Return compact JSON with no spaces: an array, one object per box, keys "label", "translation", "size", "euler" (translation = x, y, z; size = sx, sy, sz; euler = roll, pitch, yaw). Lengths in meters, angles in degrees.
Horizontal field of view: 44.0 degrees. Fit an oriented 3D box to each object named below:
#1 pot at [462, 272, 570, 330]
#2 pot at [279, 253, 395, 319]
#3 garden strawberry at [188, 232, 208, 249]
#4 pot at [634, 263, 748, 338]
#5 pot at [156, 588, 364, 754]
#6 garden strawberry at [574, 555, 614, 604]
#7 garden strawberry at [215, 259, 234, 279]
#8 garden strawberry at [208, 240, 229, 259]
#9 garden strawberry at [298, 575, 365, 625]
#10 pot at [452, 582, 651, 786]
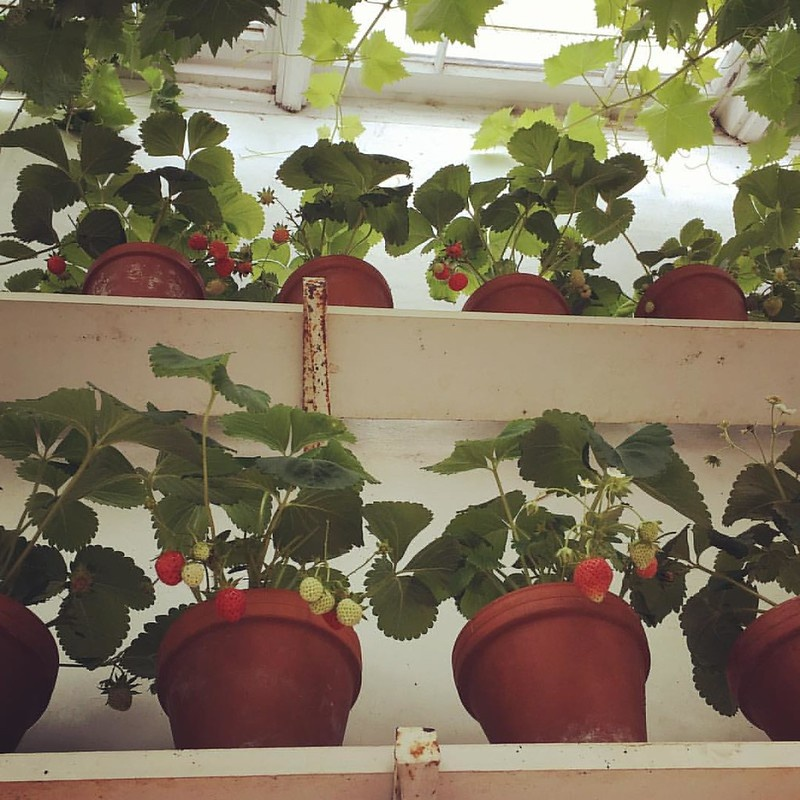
[{"label":"pot","translation":[0.229,-0.202,1.907],"size":[0.208,0.081,0.181],"euler":[6,10,6]},{"label":"pot","translation":[-0.110,-0.218,1.835],"size":[0.220,0.094,0.201],"euler":[5,10,-1]},{"label":"garden strawberry","translation":[-0.425,-0.334,2.098],"size":[0.040,0.023,0.039],"euler":[-33,18,-6]},{"label":"pot","translation":[0.594,-0.210,1.966],"size":[0.205,0.115,0.225],"euler":[5,10,-1]},{"label":"pot","translation":[-0.199,0.368,1.354],"size":[0.292,0.231,0.141],"euler":[-3,50,-5]},{"label":"garden strawberry","translation":[0.274,0.253,1.403],"size":[0.051,0.066,0.060],"euler":[9,11,11]},{"label":"garden strawberry","translation":[-0.365,-0.276,2.084],"size":[0.040,0.022,0.040],"euler":[-2,33,4]},{"label":"garden strawberry","translation":[-0.376,-0.316,2.069],"size":[0.043,0.031,0.044],"euler":[0,5,9]},{"label":"garden strawberry","translation":[-0.096,0.279,1.372],"size":[0.105,0.039,0.052],"euler":[26,10,-1]},{"label":"pot","translation":[0.221,0.377,1.402],"size":[0.275,0.222,0.134],"euler":[6,11,4]}]
